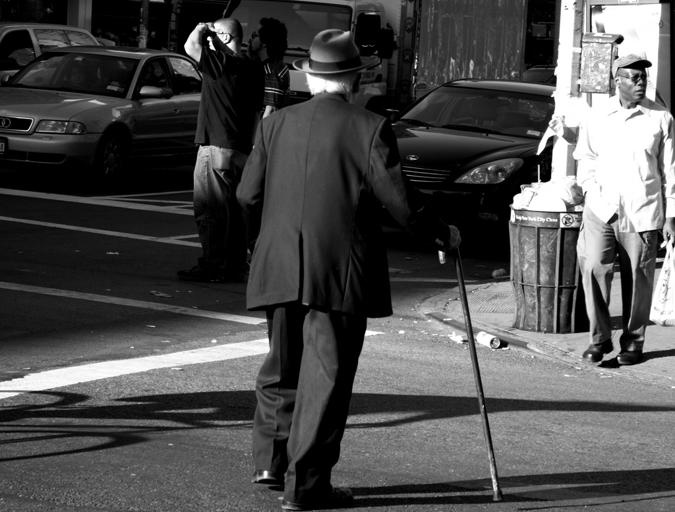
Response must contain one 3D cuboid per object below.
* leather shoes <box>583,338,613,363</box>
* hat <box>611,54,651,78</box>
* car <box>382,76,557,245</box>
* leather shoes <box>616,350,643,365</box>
[{"bbox_3d":[2.084,0.768,9.251,0.338,0.113,0.121,-11,18,-39],"label":"leather shoes"},{"bbox_3d":[2.273,-1.517,8.986,0.208,0.074,0.262,3,-8,-25],"label":"hat"},{"bbox_3d":[1.884,-1.363,14.259,1.585,1.088,2.763,5,6,30],"label":"car"},{"bbox_3d":[2.336,0.825,9.205,0.253,0.078,0.081,-3,7,-8],"label":"leather shoes"}]
